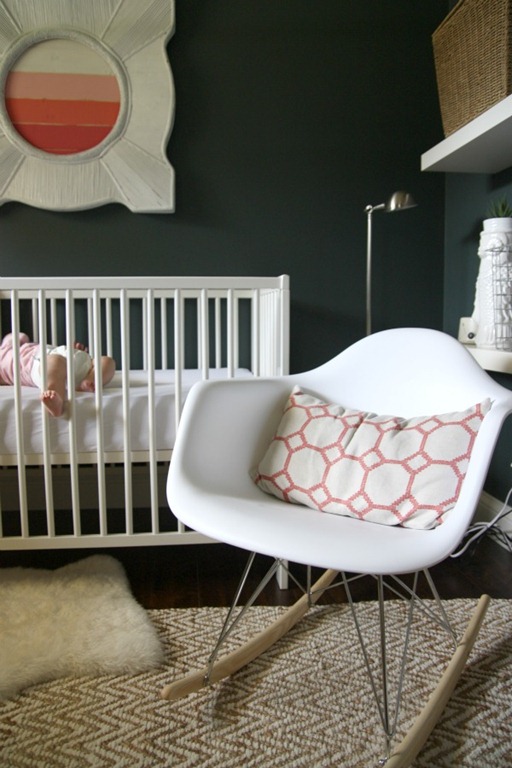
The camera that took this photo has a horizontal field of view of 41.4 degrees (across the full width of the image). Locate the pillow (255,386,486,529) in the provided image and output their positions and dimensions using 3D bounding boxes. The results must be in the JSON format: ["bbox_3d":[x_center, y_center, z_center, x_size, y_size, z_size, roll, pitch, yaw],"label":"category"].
[{"bbox_3d":[0.210,0.156,1.301,0.477,0.203,0.220,6,27,38],"label":"pillow"}]

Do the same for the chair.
[{"bbox_3d":[0.140,0.251,1.492,0.659,0.725,0.807,9,20,32],"label":"chair"}]

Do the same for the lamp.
[{"bbox_3d":[0.484,-0.438,2.539,0.201,0.551,0.657,2,10,11],"label":"lamp"}]
